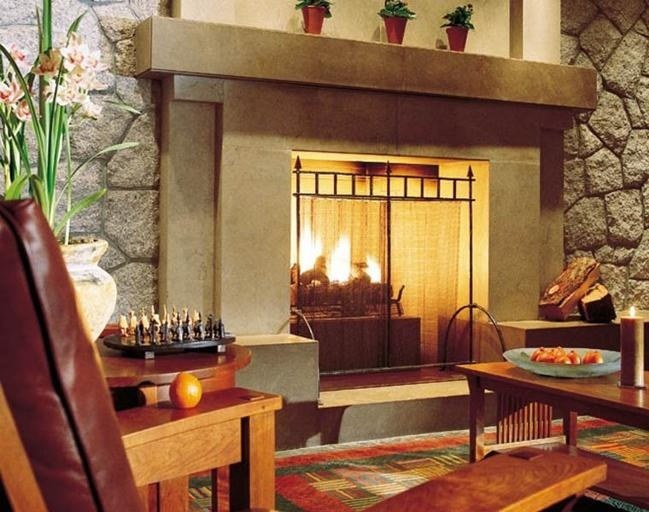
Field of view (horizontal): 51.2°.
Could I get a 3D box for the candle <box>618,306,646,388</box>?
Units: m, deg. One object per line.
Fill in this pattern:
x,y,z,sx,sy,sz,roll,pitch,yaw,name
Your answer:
0.832,0.257,1.835,0.060,0.193,0.084,0,1,25,candle

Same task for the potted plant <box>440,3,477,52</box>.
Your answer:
0.698,-1.199,3.573,0.174,0.310,0.234,0,1,12,potted plant
